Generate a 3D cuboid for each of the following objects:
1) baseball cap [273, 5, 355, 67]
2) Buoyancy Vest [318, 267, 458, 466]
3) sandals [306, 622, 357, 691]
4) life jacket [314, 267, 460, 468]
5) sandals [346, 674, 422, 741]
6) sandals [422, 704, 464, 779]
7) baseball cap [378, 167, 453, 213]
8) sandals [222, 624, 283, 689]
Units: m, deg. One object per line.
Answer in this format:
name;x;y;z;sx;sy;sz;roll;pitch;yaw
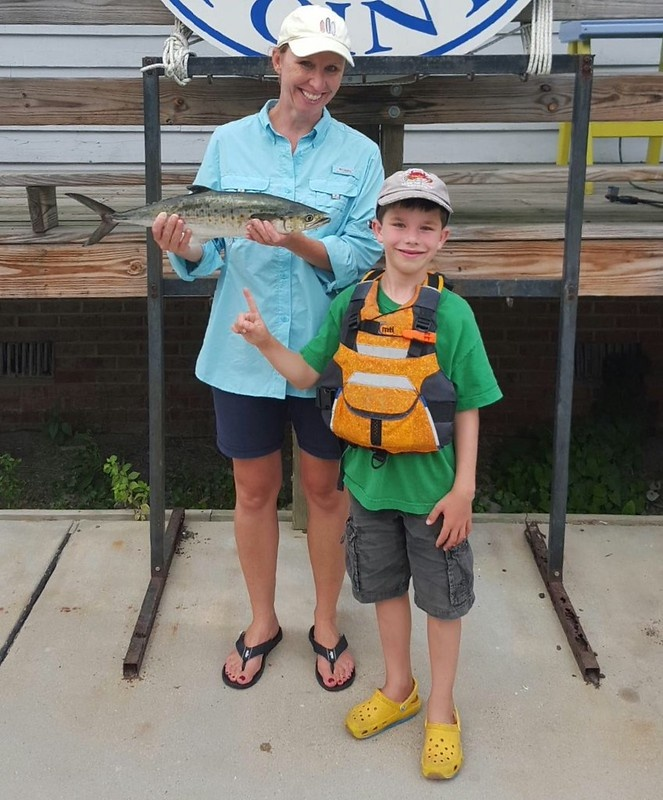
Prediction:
baseball cap;-0.052;-1.041;2.244;0.205;0.156;0.180;-2;18;-4
Buoyancy Vest;0.174;-0.087;2.281;0.395;0.516;0.301;10;23;30
sandals;0.004;0.906;2.851;0.167;0.074;0.370;-7;11;-4
life jacket;0.194;-0.106;2.316;0.414;0.462;0.336;14;10;29
sandals;0.154;0.984;2.542;0.260;0.085;0.111;-11;12;-19
sandals;0.338;1.012;2.413;0.128;0.087;0.289;0;22;13
baseball cap;0.228;-0.587;2.236;0.201;0.118;0.194;0;18;3
sandals;-0.297;0.893;2.850;0.159;0.072;0.361;11;13;3
